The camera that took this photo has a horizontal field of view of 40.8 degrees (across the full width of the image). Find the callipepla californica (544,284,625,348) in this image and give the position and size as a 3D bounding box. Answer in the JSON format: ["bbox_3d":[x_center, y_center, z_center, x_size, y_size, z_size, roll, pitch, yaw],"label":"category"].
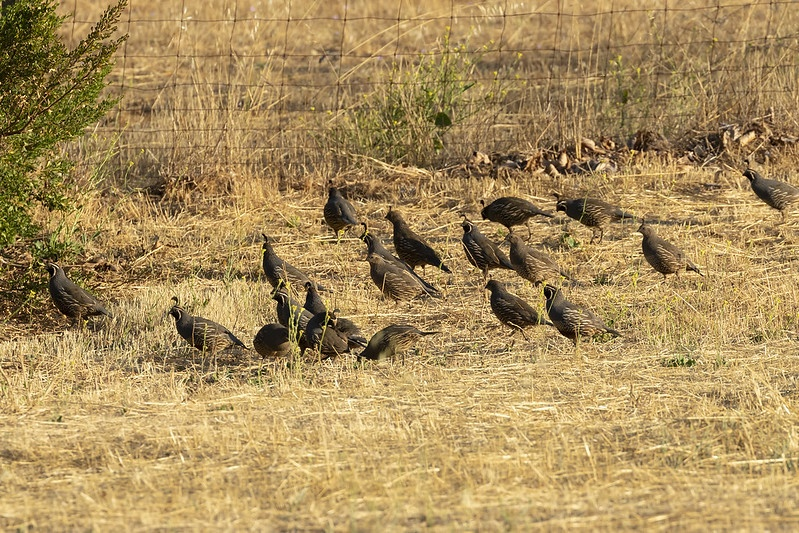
[{"bbox_3d":[1.837,0.509,10.904,0.719,0.604,0.384,-1,13,5],"label":"callipepla californica"}]
